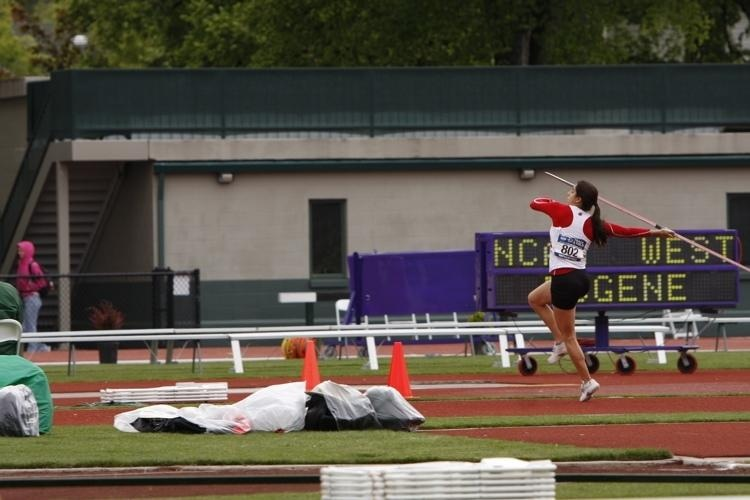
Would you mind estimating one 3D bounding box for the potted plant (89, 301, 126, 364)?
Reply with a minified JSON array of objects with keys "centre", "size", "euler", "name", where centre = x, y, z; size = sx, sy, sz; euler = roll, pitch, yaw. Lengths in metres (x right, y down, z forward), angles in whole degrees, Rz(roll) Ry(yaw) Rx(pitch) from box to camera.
[{"centre":[-7.381,2.285,55.137],"size":[1.181,1.652,1.087],"euler":[-1,-22,-24],"name":"potted plant"}]
